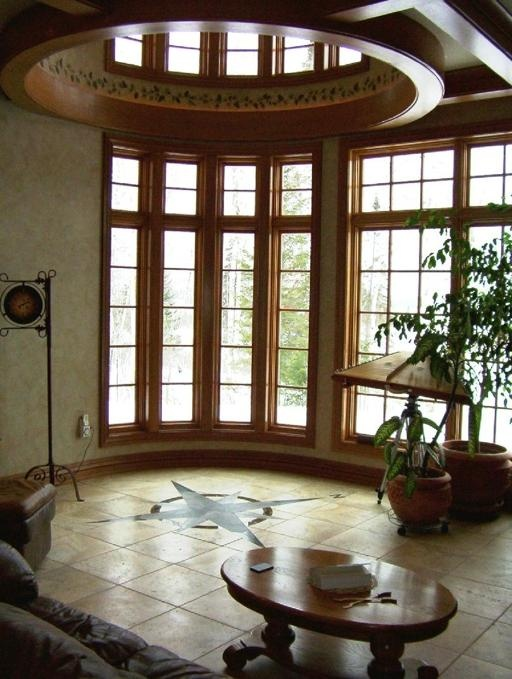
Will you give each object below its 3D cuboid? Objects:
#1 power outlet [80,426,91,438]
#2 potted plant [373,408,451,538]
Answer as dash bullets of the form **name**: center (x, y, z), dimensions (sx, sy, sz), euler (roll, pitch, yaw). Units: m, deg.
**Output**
- **power outlet**: center (-1.686, 0.914, 5.779), dimensions (0.030, 0.099, 0.110), euler (5, -13, 23)
- **potted plant**: center (1.273, 0.958, 4.672), dimensions (0.602, 1.031, 1.087), euler (2, -3, 14)
